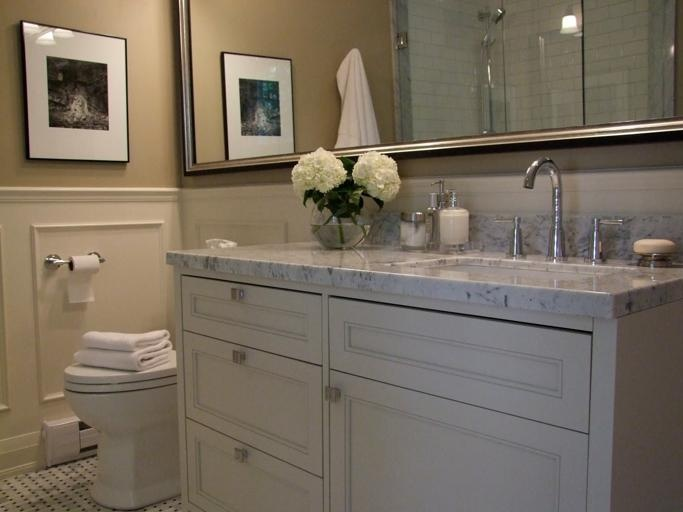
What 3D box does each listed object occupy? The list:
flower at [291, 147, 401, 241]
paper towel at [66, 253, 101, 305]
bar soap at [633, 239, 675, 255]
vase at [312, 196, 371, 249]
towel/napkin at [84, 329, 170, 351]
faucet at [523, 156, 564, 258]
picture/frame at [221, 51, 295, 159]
[{"bbox_3d":[-0.009,-0.206,1.950,0.348,0.367,0.286,0,21,10],"label":"flower"},{"bbox_3d":[-1.228,0.102,2.554,0.204,0.209,0.106,-2,25,-40],"label":"paper towel"},{"bbox_3d":[0.819,-0.022,1.419,0.095,0.041,0.043,2,11,32],"label":"bar soap"},{"bbox_3d":[-0.007,-0.112,1.901,0.151,0.119,0.158,2,2,26],"label":"vase"},{"bbox_3d":[-0.870,0.340,2.204,0.144,0.049,0.151,-1,-1,32],"label":"towel/napkin"},{"bbox_3d":[0.602,-0.140,1.576,0.093,0.290,0.232,2,10,29],"label":"faucet"},{"bbox_3d":[-0.379,-0.683,2.485,0.322,0.475,0.012,-2,-6,-12],"label":"picture/frame"}]
